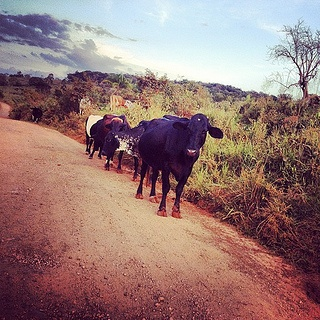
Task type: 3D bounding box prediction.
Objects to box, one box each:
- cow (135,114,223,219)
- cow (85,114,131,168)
[{"bbox_3d":[0.276,0.047,5.971,0.805,2.413,2.300,8,12,-24],"label":"cow"},{"bbox_3d":[-2.185,-0.756,10.918,1.031,1.882,3.154,17,0,-16],"label":"cow"}]
